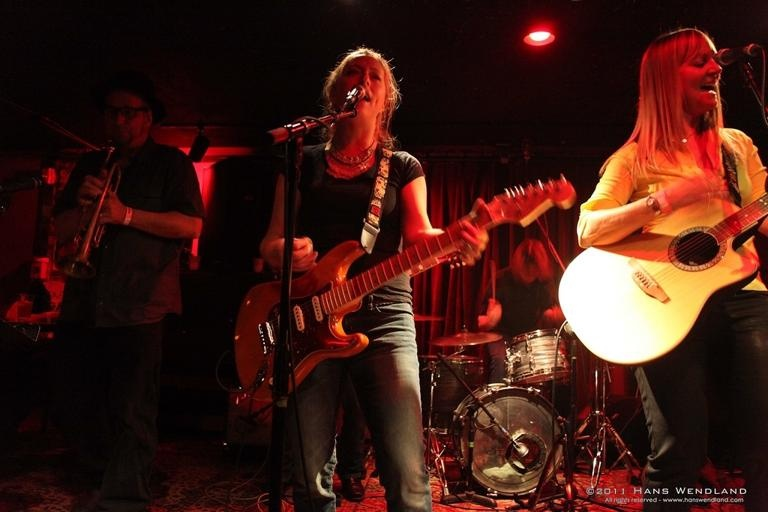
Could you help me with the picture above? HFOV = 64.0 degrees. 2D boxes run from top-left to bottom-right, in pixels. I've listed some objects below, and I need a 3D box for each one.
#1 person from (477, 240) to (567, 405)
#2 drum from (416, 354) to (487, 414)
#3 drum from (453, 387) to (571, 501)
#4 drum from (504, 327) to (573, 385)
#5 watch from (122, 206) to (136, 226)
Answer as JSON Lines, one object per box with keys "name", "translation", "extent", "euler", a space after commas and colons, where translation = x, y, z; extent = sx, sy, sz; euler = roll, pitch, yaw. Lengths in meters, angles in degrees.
{"name": "person", "translation": [1.748, 0.744, 7.453], "extent": [1.067, 1.664, 1.089], "euler": [2, 6, 5]}
{"name": "drum", "translation": [0.751, 1.310, 6.865], "extent": [0.620, 0.669, 0.727], "euler": [3, 3, 5]}
{"name": "drum", "translation": [1.121, 1.697, 6.190], "extent": [1.106, 0.939, 1.493], "euler": [2, 3, 7]}
{"name": "drum", "translation": [1.501, 0.986, 5.975], "extent": [0.618, 0.372, 0.616], "euler": [-6, -18, -2]}
{"name": "watch", "translation": [-1.934, -0.298, 4.637], "extent": [0.065, 0.117, 0.068], "euler": [15, -22, -23]}
